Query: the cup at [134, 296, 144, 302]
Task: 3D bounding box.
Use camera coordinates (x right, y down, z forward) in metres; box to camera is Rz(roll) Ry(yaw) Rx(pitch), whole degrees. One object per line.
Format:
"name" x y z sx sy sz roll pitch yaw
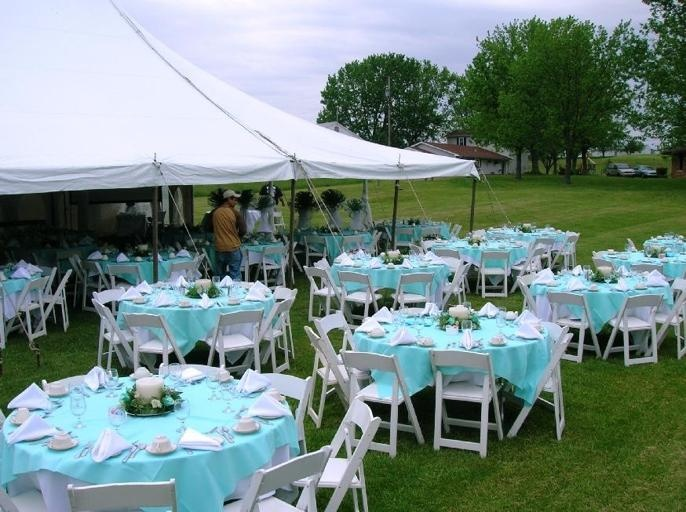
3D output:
"cup" -2.626 0.565 8.380 0.080 0.076 0.086 0 -3 0

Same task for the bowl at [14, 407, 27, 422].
"bowl" -2.632 1.296 5.299 0.089 0.097 0.088 3 9 0

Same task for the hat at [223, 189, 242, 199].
"hat" -1.903 -1.022 11.166 0.271 0.168 0.191 -4 13 -21

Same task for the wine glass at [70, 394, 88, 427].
"wine glass" -2.177 1.251 5.334 0.113 0.214 0.307 -7 16 -25

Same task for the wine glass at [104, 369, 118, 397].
"wine glass" -2.091 1.119 5.866 0.108 0.173 0.376 -5 15 -19

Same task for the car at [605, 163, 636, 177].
"car" 21.644 -6.611 50.598 1.202 1.124 2.103 -3 3 -20

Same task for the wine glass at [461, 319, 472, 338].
"wine glass" 1.331 0.768 6.968 0.117 0.149 0.121 0 4 32

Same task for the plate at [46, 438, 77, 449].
"plate" -2.161 1.446 4.992 0.112 0.050 0.116 1 2 -21

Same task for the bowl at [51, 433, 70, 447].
"bowl" -2.183 1.417 4.983 0.084 0.055 0.115 7 9 24

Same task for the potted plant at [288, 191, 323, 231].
"potted plant" -1.013 -1.213 16.306 0.778 1.079 0.747 -4 3 -42

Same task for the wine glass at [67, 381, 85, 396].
"wine glass" -2.363 1.172 5.746 0.143 0.146 0.177 1 -2 -20

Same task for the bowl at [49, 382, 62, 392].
"bowl" -2.552 1.164 5.758 0.084 0.068 0.089 3 6 0

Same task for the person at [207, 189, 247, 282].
"person" -2.028 -0.203 11.477 0.571 1.972 0.588 1 23 -3

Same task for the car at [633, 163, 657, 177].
"car" 22.772 -6.343 48.726 0.786 0.653 1.837 -1 4 2

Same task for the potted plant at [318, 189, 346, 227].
"potted plant" -0.256 -1.137 16.245 0.650 1.095 0.729 -2 -13 -20
